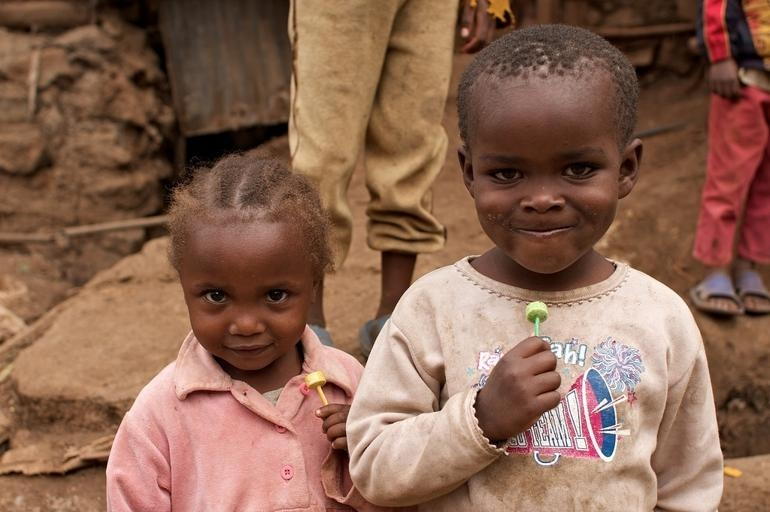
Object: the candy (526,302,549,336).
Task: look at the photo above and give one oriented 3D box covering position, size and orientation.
[{"bbox_3d":[0.652,0.265,4.548,0.098,0.157,0.129,-3,25,7],"label":"candy"}]
